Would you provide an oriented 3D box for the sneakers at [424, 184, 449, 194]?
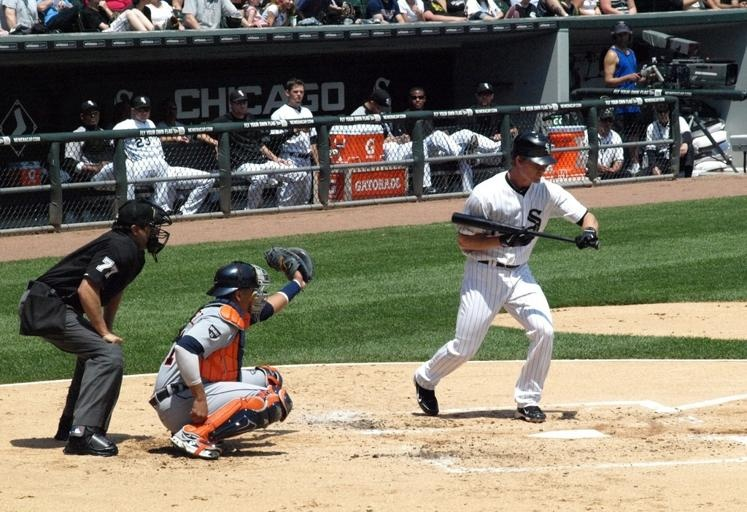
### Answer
[{"bbox_3d":[1.004,-1.067,24.361,0.400,0.122,0.093,-1,7,-26],"label":"sneakers"}]

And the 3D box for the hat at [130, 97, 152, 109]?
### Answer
[{"bbox_3d":[-3.526,-2.298,22.638,0.256,0.182,0.301,-2,5,-11],"label":"hat"}]

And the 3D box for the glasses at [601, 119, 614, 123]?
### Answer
[{"bbox_3d":[3.930,-2.267,25.054,0.226,0.086,0.054,-3,5,-27],"label":"glasses"}]

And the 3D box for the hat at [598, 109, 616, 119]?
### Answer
[{"bbox_3d":[3.911,-2.380,25.018,0.258,0.169,0.058,-3,5,-25],"label":"hat"}]

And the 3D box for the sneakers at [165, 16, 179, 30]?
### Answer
[{"bbox_3d":[-3.191,-3.680,23.719,0.176,0.214,0.071,3,7,-1],"label":"sneakers"}]

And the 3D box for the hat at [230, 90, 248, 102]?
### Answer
[{"bbox_3d":[-2.113,-2.445,23.117,0.256,0.158,0.333,-5,5,-25],"label":"hat"}]

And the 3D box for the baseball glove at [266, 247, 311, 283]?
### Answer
[{"bbox_3d":[-0.835,0.085,15.164,0.459,0.221,0.325,3,-5,20],"label":"baseball glove"}]

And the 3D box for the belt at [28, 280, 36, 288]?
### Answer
[{"bbox_3d":[-3.414,0.288,14.939,0.070,0.078,0.083,8,18,-10],"label":"belt"}]

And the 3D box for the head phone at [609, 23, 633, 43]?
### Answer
[{"bbox_3d":[4.262,-3.766,25.443,0.350,0.437,0.258,0,23,4],"label":"head phone"}]

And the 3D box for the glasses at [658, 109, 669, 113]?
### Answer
[{"bbox_3d":[4.942,-2.460,25.488,0.116,0.108,0.032,-2,44,1],"label":"glasses"}]

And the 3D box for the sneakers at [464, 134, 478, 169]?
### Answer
[{"bbox_3d":[1.582,-1.698,24.268,0.279,0.418,0.114,3,7,-17],"label":"sneakers"}]

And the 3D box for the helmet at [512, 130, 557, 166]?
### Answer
[{"bbox_3d":[1.647,-1.109,15.249,0.433,0.212,0.320,17,26,22],"label":"helmet"}]

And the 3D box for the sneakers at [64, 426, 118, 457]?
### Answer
[{"bbox_3d":[-2.791,1.841,14.705,0.578,0.249,0.231,1,3,1],"label":"sneakers"}]

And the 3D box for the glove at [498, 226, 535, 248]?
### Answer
[{"bbox_3d":[1.451,-0.188,15.152,0.285,0.183,0.097,8,30,6],"label":"glove"}]

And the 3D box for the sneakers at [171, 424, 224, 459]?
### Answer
[{"bbox_3d":[-1.726,1.824,14.743,0.571,0.245,0.233,12,15,8],"label":"sneakers"}]

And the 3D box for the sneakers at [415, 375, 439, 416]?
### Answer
[{"bbox_3d":[0.559,1.454,15.654,0.185,0.432,0.192,-19,1,-19],"label":"sneakers"}]

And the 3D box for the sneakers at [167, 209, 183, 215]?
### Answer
[{"bbox_3d":[-3.017,-0.641,22.718,0.203,0.061,0.084,9,6,-42],"label":"sneakers"}]

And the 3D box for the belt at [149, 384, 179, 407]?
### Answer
[{"bbox_3d":[-2.075,1.370,14.771,0.278,0.094,0.199,-31,9,-7],"label":"belt"}]

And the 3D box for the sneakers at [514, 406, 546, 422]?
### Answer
[{"bbox_3d":[1.620,1.638,15.442,0.301,0.119,0.138,0,4,38],"label":"sneakers"}]

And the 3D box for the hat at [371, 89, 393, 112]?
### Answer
[{"bbox_3d":[0.115,-2.469,23.939,0.294,0.339,0.422,-1,5,-1],"label":"hat"}]
